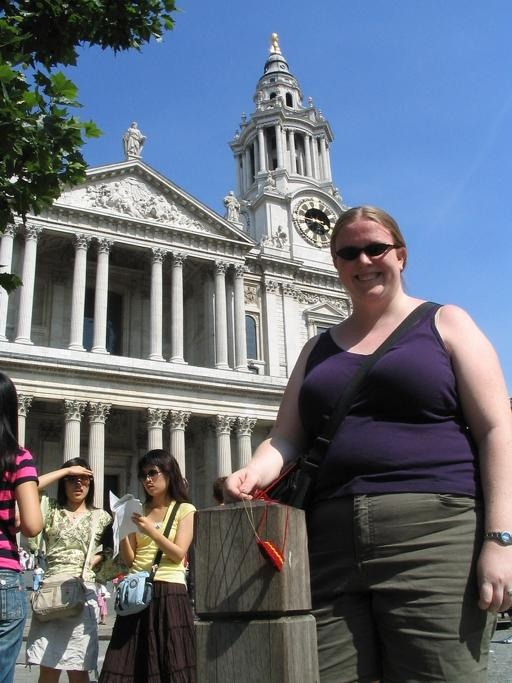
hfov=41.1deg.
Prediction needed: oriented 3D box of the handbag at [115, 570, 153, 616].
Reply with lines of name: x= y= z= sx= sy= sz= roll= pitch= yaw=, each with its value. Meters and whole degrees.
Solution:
handbag: x=-0.839 y=1.753 z=4.671 sx=0.256 sy=0.288 sz=0.198 roll=0 pitch=-12 yaw=-5

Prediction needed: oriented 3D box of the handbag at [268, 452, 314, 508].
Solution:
handbag: x=0.117 y=0.452 z=2.137 sx=0.057 sy=0.162 sz=0.133 roll=47 pitch=-18 yaw=-28

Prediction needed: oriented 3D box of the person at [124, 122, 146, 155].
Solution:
person: x=-5.348 y=-8.771 z=29.755 sx=0.869 sy=2.030 sz=1.163 roll=1 pitch=-13 yaw=-10
